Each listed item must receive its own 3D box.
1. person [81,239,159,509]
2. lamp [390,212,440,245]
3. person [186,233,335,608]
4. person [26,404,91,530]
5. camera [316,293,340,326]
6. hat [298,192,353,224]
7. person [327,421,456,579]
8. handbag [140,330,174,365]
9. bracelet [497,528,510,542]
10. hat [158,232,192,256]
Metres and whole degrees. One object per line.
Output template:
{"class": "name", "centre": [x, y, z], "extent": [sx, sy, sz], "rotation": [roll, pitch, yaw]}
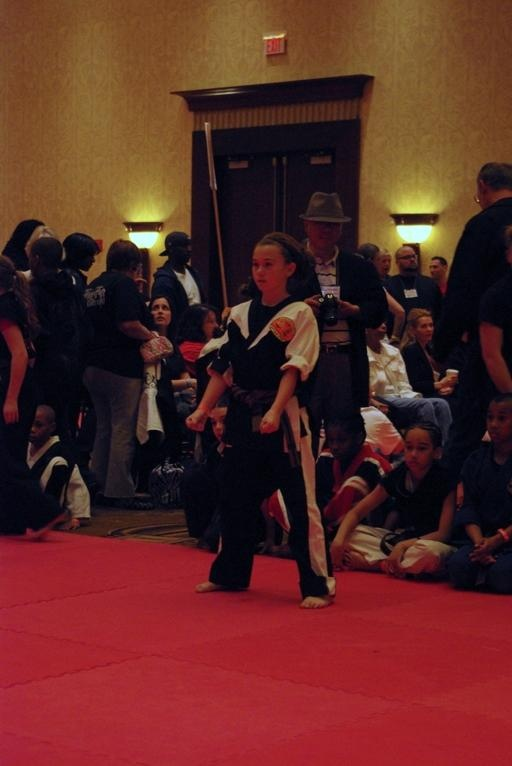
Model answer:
{"class": "person", "centre": [-1.024, -0.096, 5.491], "extent": [0.524, 1.964, 0.555], "rotation": [2, -6, -11]}
{"class": "lamp", "centre": [1.865, -1.819, 8.618], "extent": [0.472, 0.271, 0.419], "rotation": [0, -1, 4]}
{"class": "person", "centre": [0.016, 0.143, 2.909], "extent": [0.540, 1.440, 0.507], "rotation": [-1, -6, 18]}
{"class": "person", "centre": [-1.250, 0.549, 4.590], "extent": [0.382, 0.818, 0.590], "rotation": [1, 18, 0]}
{"class": "camera", "centre": [0.352, -0.355, 3.613], "extent": [0.135, 0.132, 0.086], "rotation": [1, -9, -15]}
{"class": "hat", "centre": [0.362, -0.940, 3.946], "extent": [0.219, 0.112, 0.279], "rotation": [2, -1, -2]}
{"class": "person", "centre": [0.684, 0.570, 3.592], "extent": [0.571, 0.707, 0.465], "rotation": [-2, -6, 21]}
{"class": "handbag", "centre": [-0.715, -0.264, 5.435], "extent": [0.257, 0.175, 0.102], "rotation": [-22, -23, 1]}
{"class": "bracelet", "centre": [1.059, 0.657, 3.127], "extent": [0.022, 0.052, 0.051], "rotation": [-17, 19, -4]}
{"class": "hat", "centre": [-0.804, -1.316, 7.053], "extent": [0.341, 0.229, 0.231], "rotation": [-11, 6, 4]}
